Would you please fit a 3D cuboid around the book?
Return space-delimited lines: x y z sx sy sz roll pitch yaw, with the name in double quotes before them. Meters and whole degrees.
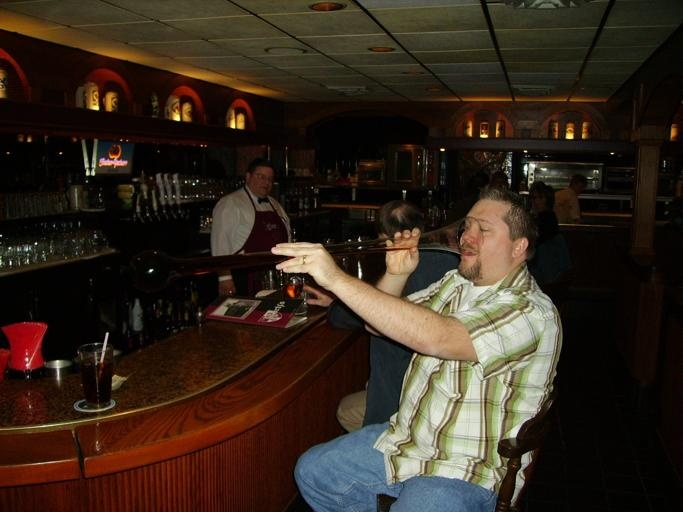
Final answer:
"book" -0.510 0.316 3.063 0.380 0.061 0.233 4 12 10

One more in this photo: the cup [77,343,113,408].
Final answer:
"cup" -0.979 0.470 2.158 0.120 0.248 0.190 -7 14 -27

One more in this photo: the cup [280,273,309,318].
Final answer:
"cup" -0.239 0.230 3.230 0.149 0.257 0.259 -2 3 1

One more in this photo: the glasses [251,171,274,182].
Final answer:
"glasses" -0.725 -0.746 4.876 0.100 0.053 0.125 0 -4 -21
